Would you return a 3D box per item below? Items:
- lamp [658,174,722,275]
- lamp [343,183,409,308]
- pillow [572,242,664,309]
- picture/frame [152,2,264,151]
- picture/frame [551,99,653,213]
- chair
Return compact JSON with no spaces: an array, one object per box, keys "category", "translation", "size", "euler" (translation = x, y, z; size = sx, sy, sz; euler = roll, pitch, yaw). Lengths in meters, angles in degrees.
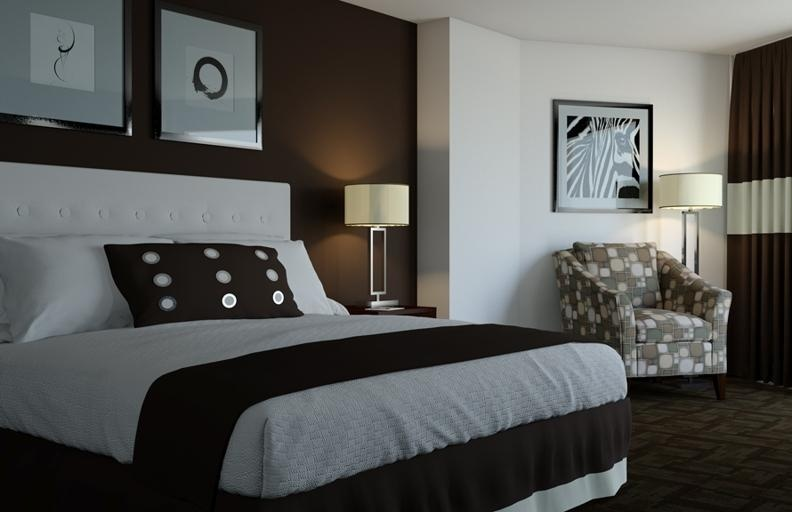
[{"category":"lamp","translation":[3.048,-0.270,5.629],"size":[0.687,1.168,0.714],"euler":[3,6,43]},{"category":"lamp","translation":[-0.152,-0.079,4.747],"size":[0.790,1.034,0.808],"euler":[1,2,17]},{"category":"pillow","translation":[2.212,0.182,5.466],"size":[0.751,0.565,0.275],"euler":[1,-12,9]},{"category":"picture/frame","translation":[-1.381,-1.344,4.117],"size":[0.761,0.969,0.309],"euler":[0,11,-25]},{"category":"picture/frame","translation":[2.095,-1.071,5.733],"size":[1.197,1.214,0.085],"euler":[0,2,-11]},{"category":"chair","translation":[2.327,0.549,5.258],"size":[1.169,1.369,1.158],"euler":[-1,-1,-3]}]
